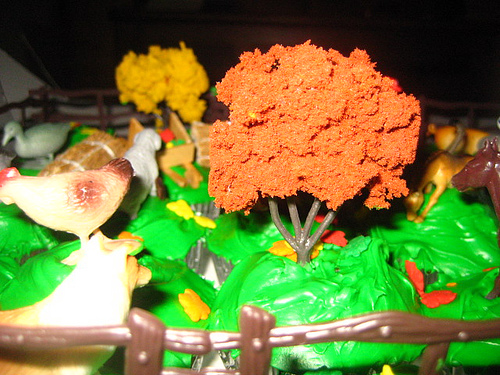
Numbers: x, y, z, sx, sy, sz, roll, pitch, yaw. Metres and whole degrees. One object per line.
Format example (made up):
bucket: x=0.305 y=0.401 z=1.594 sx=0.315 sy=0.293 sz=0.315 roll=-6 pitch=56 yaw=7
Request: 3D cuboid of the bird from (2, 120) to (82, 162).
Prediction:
bird: x=-2.220 y=-0.641 z=4.788 sx=0.683 sy=0.445 sz=0.303 roll=-33 pitch=63 yaw=-27

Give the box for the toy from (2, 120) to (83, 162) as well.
toy: x=-2.179 y=-0.548 z=4.708 sx=0.653 sy=0.426 sz=0.290 roll=-34 pitch=63 yaw=-31

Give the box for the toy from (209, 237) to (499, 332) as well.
toy: x=0.649 y=0.783 z=3.547 sx=1.384 sy=0.464 sz=1.142 roll=-2 pitch=23 yaw=1

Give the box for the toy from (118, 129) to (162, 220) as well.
toy: x=-1.029 y=-0.151 z=4.488 sx=0.413 sy=0.841 sz=0.545 roll=6 pitch=-13 yaw=11

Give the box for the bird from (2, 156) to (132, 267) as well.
bird: x=-1.146 y=0.025 z=3.278 sx=0.994 sy=0.739 sz=0.502 roll=-17 pitch=41 yaw=-14
